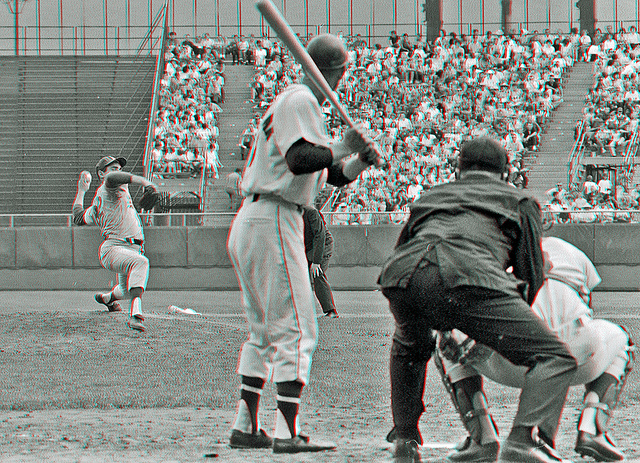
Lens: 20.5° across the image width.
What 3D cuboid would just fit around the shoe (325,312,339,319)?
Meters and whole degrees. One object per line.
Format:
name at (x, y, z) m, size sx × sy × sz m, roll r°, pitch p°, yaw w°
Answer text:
shoe at (0.317, 2.226, 47.341) m, size 0.361 × 0.149 × 0.132 m, roll 3°, pitch 9°, yaw 12°

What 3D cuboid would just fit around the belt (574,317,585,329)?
belt at (6.030, 2.134, 41.343) m, size 0.247 × 0.234 × 0.059 m, roll -14°, pitch -8°, yaw 9°

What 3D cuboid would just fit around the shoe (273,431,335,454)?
shoe at (-0.457, 4.951, 41.537) m, size 1.520 × 0.586 × 0.503 m, roll -1°, pitch -8°, yaw -7°

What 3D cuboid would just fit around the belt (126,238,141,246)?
belt at (-4.895, 0.249, 46.559) m, size 0.385 × 0.168 × 0.056 m, roll -1°, pitch 7°, yaw -24°

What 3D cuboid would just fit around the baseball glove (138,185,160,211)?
baseball glove at (-4.294, -0.811, 44.994) m, size 0.443 × 0.618 × 0.217 m, roll 24°, pitch -20°, yaw 25°
